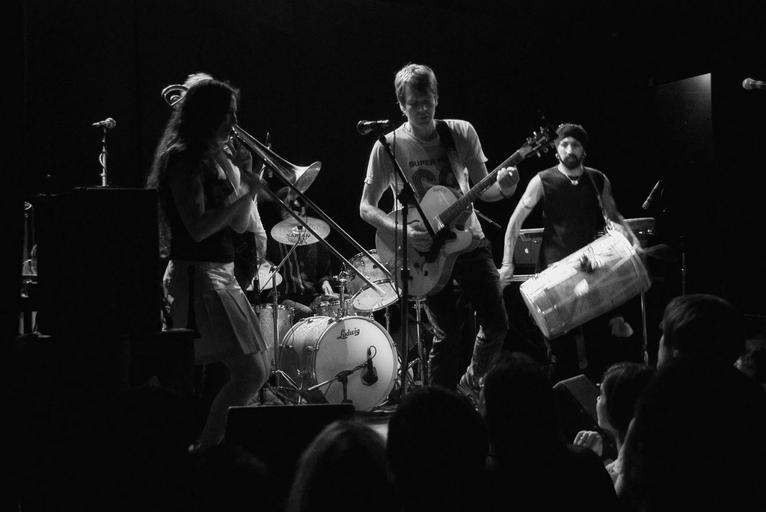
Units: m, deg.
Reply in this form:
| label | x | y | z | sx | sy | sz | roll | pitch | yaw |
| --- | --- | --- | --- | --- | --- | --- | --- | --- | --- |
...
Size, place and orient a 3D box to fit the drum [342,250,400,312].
| label | x | y | z | sx | sy | sz | roll | pitch | yaw |
| --- | --- | --- | --- | --- | --- | --- | --- | --- | --- |
| drum | -0.123 | 0.315 | 6.847 | 0.513 | 0.494 | 0.516 | -27 | 27 | 19 |

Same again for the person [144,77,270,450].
| label | x | y | z | sx | sy | sz | roll | pitch | yaw |
| --- | --- | --- | --- | --- | --- | --- | --- | --- | --- |
| person | -0.973 | 0.176 | 4.436 | 0.588 | 2.334 | 0.779 | -1 | 7 | 6 |

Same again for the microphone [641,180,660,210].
| label | x | y | z | sx | sy | sz | roll | pitch | yaw |
| --- | --- | --- | --- | --- | --- | --- | --- | --- | --- |
| microphone | 2.627 | -0.591 | 7.419 | 0.082 | 0.329 | 0.090 | 30 | -17 | 49 |

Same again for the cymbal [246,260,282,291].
| label | x | y | z | sx | sy | sz | roll | pitch | yaw |
| --- | --- | --- | --- | --- | --- | --- | --- | --- | --- |
| cymbal | -1.052 | 0.180 | 6.999 | 0.364 | 0.095 | 0.392 | -1 | -48 | -24 |

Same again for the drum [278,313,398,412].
| label | x | y | z | sx | sy | sz | roll | pitch | yaw |
| --- | --- | --- | --- | --- | --- | --- | --- | --- | --- |
| drum | -0.344 | 0.883 | 6.390 | 0.840 | 0.796 | 0.680 | -4 | -4 | -22 |

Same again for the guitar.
| label | x | y | z | sx | sy | sz | roll | pitch | yaw |
| --- | --- | --- | --- | --- | --- | --- | --- | --- | --- |
| guitar | 0.460 | -0.282 | 5.270 | 1.234 | 1.136 | 0.738 | -4 | -4 | 21 |

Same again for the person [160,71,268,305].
| label | x | y | z | sx | sy | sz | roll | pitch | yaw |
| --- | --- | --- | --- | --- | --- | --- | --- | --- | --- |
| person | -1.038 | -0.244 | 4.472 | 0.618 | 1.569 | 0.474 | 2 | 12 | -16 |

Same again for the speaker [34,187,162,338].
| label | x | y | z | sx | sy | sz | roll | pitch | yaw |
| --- | --- | --- | --- | --- | --- | --- | --- | --- | --- |
| speaker | -1.484 | 0.032 | 3.985 | 0.437 | 0.765 | 0.600 | -1 | 5 | -23 |

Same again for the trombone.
| label | x | y | z | sx | sy | sz | roll | pitch | yaw |
| --- | --- | --- | --- | --- | --- | --- | --- | --- | --- |
| trombone | -0.575 | -0.437 | 5.010 | 2.009 | 0.477 | 0.394 | 42 | -26 | -29 |

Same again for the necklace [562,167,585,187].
| label | x | y | z | sx | sy | sz | roll | pitch | yaw |
| --- | --- | --- | --- | --- | --- | --- | --- | --- | --- |
| necklace | 1.598 | -0.681 | 6.377 | 0.117 | 0.172 | 0.043 | 2 | -16 | -2 |
